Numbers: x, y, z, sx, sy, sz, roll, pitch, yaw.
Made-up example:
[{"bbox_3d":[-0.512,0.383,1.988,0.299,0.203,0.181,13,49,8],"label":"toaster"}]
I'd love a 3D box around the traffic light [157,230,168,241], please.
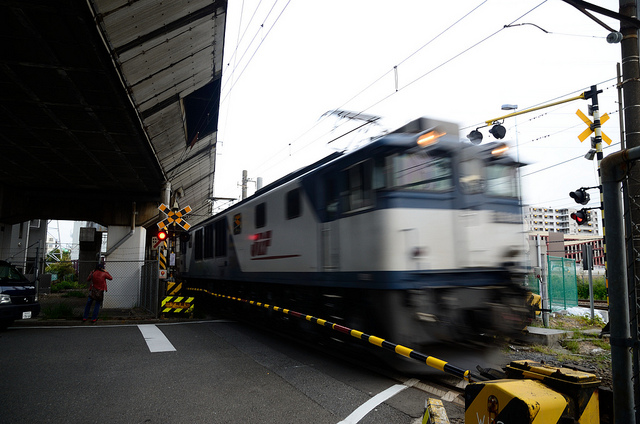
[{"bbox_3d":[-5.269,0.754,15.003,0.299,0.358,0.360,1,-1,-20],"label":"traffic light"}]

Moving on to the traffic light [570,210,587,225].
[{"bbox_3d":[7.958,0.129,13.759,0.449,0.416,0.291,-1,-2,39],"label":"traffic light"}]

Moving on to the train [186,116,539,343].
[{"bbox_3d":[-0.323,1.114,14.425,3.637,4.217,13.263,2,-8,-23],"label":"train"}]

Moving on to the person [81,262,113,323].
[{"bbox_3d":[-7.376,2.558,14.828,0.840,1.870,1.329,1,-1,-28],"label":"person"}]

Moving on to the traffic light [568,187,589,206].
[{"bbox_3d":[7.850,-0.495,13.497,0.555,0.409,0.263,1,-1,-9],"label":"traffic light"}]

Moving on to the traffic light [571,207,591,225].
[{"bbox_3d":[7.683,0.101,13.147,0.624,0.620,0.429,-3,4,-20],"label":"traffic light"}]
